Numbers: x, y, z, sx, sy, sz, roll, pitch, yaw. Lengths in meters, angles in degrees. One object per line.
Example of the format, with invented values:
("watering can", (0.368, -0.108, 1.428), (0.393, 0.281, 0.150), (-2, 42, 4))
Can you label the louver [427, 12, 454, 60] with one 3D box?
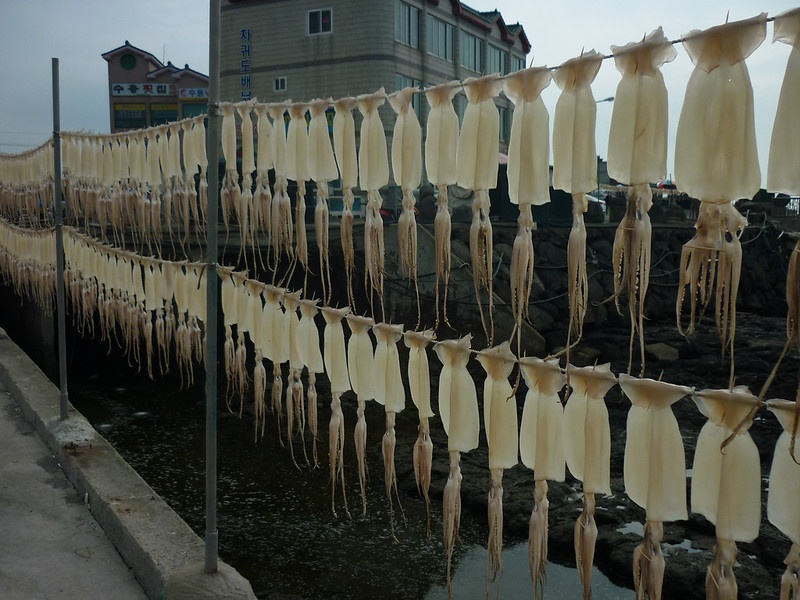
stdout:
("louver", (0.919, -8.055, 31.120), (0.093, 1.364, 2.564), (-18, 16, -8))

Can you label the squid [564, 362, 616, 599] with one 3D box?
("squid", (1.404, 1.369, 7.644), (0.378, 1.848, 0.448), (2, 9, 11))

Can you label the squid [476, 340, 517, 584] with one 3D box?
("squid", (0.745, 1.256, 7.936), (0.301, 1.937, 0.421), (-2, 9, -10))

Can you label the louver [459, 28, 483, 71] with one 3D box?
("louver", (2.346, -8.164, 33.208), (0.057, 1.091, 1.675), (11, 11, 28))

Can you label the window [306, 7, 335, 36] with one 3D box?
("window", (-2.202, -7.793, 28.171), (0.736, 0.660, 0.065), (3, 6, 37))

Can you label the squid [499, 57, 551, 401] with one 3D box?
("squid", (0.963, -0.606, 7.880), (0.365, 2.351, 1.395), (1, 9, 7))

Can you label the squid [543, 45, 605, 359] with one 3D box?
("squid", (1.293, -0.690, 7.578), (0.353, 2.296, 0.525), (1, 9, 9))

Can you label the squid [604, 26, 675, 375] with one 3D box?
("squid", (1.712, -0.890, 7.339), (0.449, 2.119, 0.418), (2, 9, 15))
